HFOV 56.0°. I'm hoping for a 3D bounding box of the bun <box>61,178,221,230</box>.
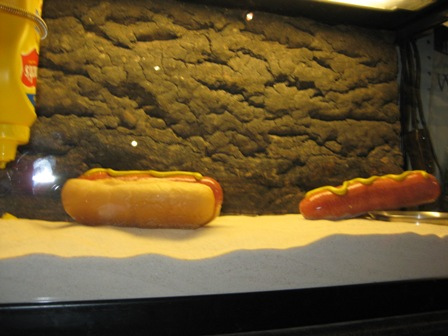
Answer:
[{"bbox_3d":[-0.288,0.113,1.357,0.392,0.155,0.209,2,0,0],"label":"bun"}]
